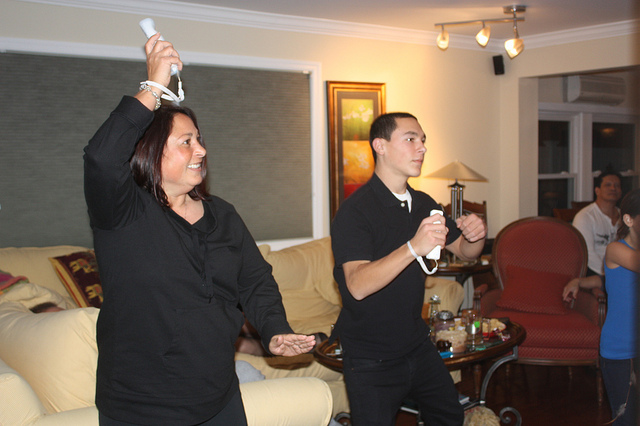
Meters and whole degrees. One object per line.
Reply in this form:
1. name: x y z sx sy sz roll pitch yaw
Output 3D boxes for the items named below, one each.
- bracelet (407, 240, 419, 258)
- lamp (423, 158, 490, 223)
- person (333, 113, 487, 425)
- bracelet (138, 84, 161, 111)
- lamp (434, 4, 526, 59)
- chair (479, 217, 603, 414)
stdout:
1. bracelet: 0.412 0.159 2.116 0.017 0.061 0.059 -28 2 5
2. lamp: 1.397 -0.223 5.125 0.669 0.737 0.645 1 -1 -25
3. person: 0.462 0.383 2.479 0.687 1.832 0.680 -1 8 29
4. bracelet: -0.643 -0.446 1.771 0.034 0.108 0.086 -54 1 -33
5. lamp: 1.601 -1.749 4.723 0.868 0.465 0.689 -2 7 21
6. chair: 1.950 0.780 4.172 0.875 1.401 0.909 -1 8 24
